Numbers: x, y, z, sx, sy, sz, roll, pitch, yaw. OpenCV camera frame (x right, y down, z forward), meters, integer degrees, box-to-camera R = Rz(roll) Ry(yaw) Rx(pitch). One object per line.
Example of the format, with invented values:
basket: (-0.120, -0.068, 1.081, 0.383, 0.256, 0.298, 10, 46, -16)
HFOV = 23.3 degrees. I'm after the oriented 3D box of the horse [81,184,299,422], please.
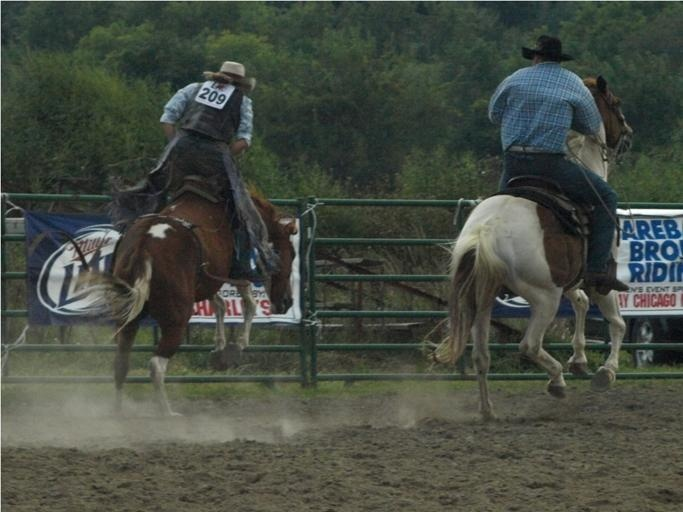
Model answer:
horse: (-3.562, 0.857, 39.203, 1.984, 4.800, 8.221, 8, 19, 24)
